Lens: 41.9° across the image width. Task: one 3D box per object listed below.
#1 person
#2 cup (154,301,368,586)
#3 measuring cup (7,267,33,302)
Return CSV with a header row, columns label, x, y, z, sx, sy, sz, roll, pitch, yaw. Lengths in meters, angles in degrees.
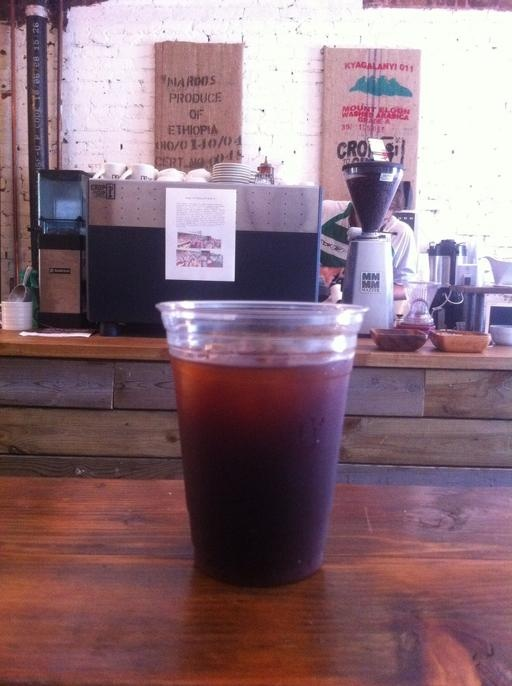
label,x,y,z,sx,sy,sz,roll,pitch,yaw
person,0.539,-0.455,3.103,0.471,0.555,1.092,2,8,5
cup,0.005,0.062,0.500,0.181,0.202,0.164,1,1,-3
measuring cup,-0.636,-0.157,1.802,0.057,0.083,0.088,-2,9,-19
